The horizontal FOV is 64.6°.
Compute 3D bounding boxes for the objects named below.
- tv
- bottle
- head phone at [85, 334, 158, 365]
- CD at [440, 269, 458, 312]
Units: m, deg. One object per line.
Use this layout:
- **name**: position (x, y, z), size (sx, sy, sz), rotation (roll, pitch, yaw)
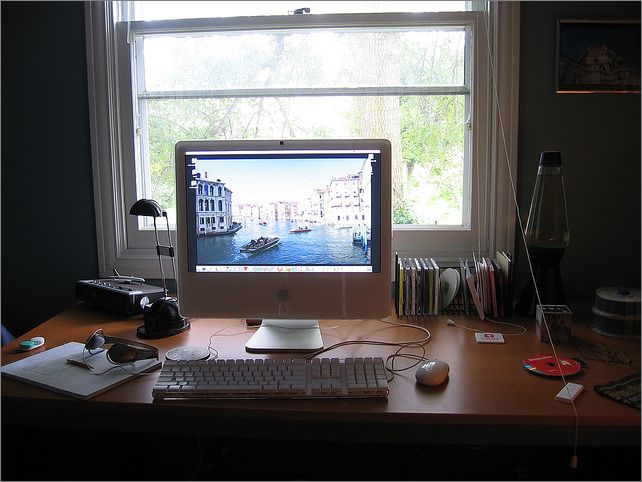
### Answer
- **tv**: position (-0.131, -0.013, 1.795), size (0.764, 0.716, 0.248), rotation (0, 1, 0)
- **bottle**: position (0.903, -0.133, 2.039), size (0.143, 0.445, 0.130), rotation (-3, 8, 0)
- **head phone**: position (-0.674, 0.369, 1.729), size (0.196, 0.073, 0.219), rotation (14, -8, 14)
- **CD**: position (0.530, 0.193, 2.093), size (0.028, 0.137, 0.137), rotation (10, -12, -27)
